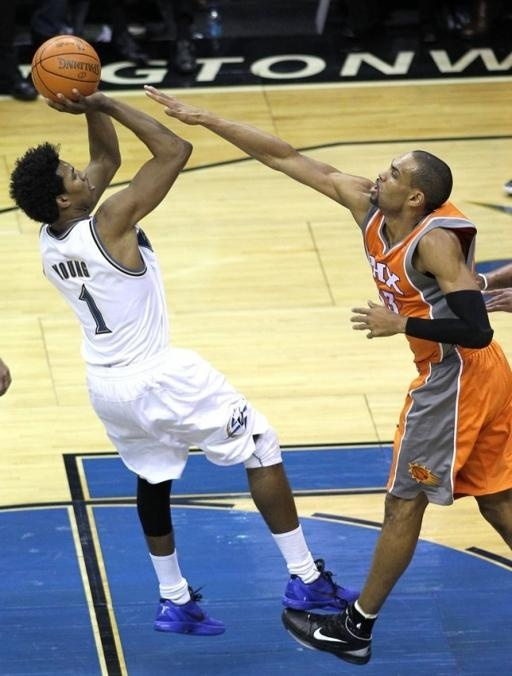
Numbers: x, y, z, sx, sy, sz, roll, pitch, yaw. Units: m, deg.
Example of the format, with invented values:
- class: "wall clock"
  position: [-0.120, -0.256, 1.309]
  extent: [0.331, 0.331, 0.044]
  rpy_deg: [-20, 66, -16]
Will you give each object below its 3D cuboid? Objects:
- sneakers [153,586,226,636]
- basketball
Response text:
- class: "sneakers"
  position: [-0.208, 0.856, 2.365]
  extent: [0.298, 0.138, 0.097]
  rpy_deg: [10, -15, -25]
- class: "basketball"
  position: [-0.562, -0.802, 2.296]
  extent: [0.237, 0.192, 0.218]
  rpy_deg: [-15, 26, -31]
